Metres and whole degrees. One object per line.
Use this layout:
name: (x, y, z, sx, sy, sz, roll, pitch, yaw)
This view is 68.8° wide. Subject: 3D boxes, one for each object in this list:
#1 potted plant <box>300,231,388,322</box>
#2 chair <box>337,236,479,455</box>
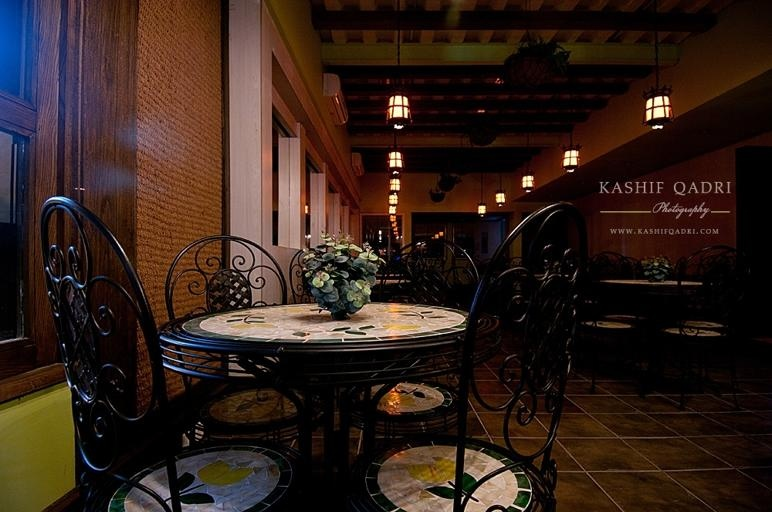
potted plant: (-0.230, 0.133, 3.173, 0.452, 0.463, 0.431, 0, -4, -3)
chair: (0.003, 0.466, 3.212, 0.907, 0.908, 0.660, 23, -25, -29)
